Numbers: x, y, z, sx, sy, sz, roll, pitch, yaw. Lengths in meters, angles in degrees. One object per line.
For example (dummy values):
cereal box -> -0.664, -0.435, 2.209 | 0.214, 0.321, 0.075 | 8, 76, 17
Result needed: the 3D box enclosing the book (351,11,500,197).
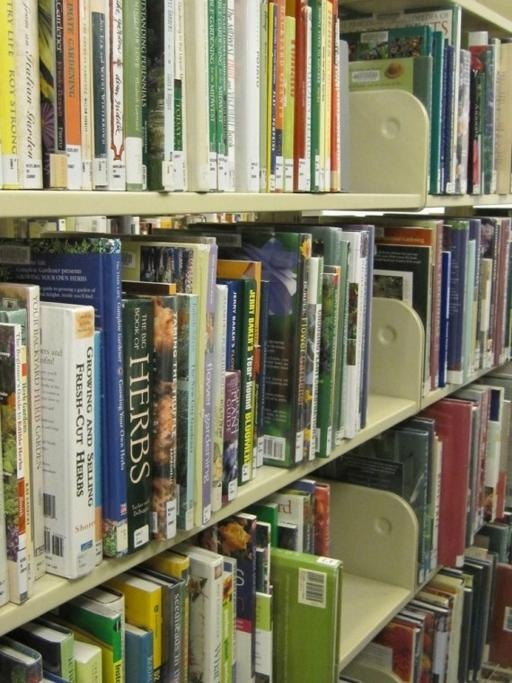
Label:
book -> 0.426, -0.503, 1.609 | 0.470, 0.377, 0.210 | -6, 7, -29
